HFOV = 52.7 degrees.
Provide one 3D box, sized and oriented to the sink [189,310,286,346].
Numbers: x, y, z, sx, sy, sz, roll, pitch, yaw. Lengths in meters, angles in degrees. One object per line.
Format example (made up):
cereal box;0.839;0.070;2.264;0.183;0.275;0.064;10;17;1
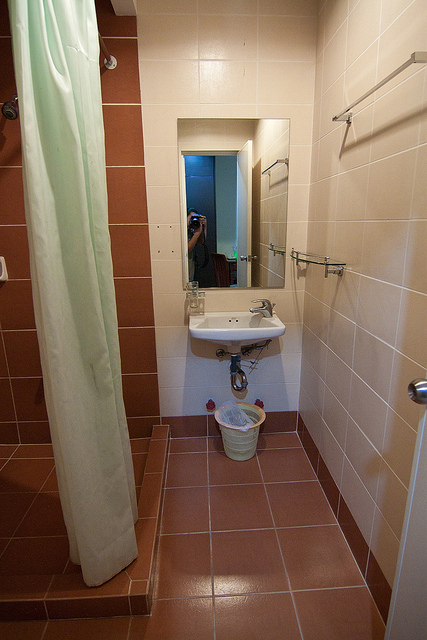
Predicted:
sink;0.119;0.066;2.236;0.489;0.156;0.359;0;15;-3

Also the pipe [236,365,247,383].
pipe;0.155;0.302;2.364;0.025;0.042;0.124;-1;55;-11
